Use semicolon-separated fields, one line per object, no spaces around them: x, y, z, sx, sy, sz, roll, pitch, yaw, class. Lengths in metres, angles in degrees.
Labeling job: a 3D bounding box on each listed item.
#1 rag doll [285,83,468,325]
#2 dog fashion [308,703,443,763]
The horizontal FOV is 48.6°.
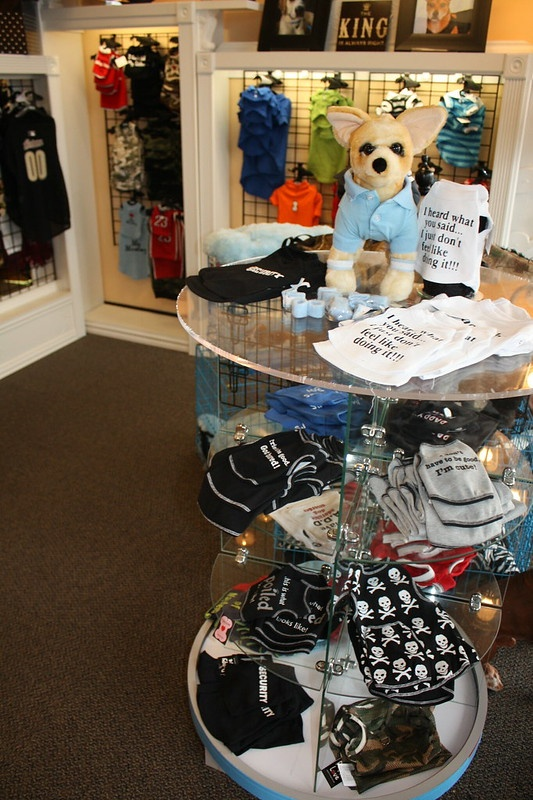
0.237;-0.464;1.386;0.275;0.419;0.370;15;34;20;rag doll
0.288;0.802;1.441;0.282;0.060;0.143;0;32;-4;dog fashion
